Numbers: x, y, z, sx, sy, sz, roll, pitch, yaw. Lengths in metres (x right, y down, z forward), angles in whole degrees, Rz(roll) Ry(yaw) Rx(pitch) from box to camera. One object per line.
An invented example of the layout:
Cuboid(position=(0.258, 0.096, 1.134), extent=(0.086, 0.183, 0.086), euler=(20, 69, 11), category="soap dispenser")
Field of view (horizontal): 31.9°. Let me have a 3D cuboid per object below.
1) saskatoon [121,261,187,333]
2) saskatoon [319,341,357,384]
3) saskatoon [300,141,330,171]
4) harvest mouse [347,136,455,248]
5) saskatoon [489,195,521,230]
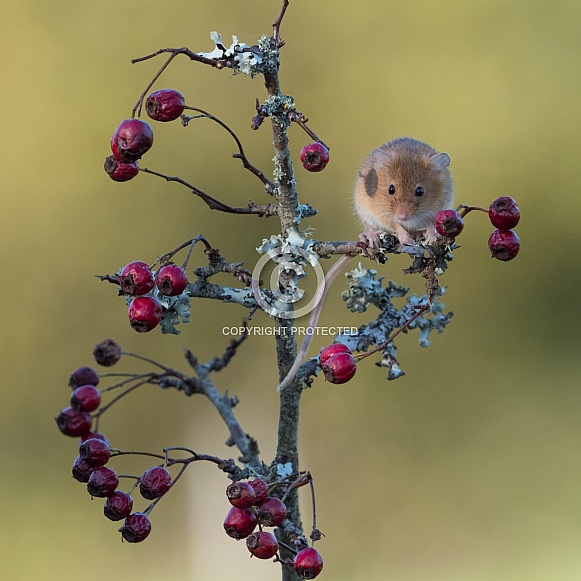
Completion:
Cuboid(position=(-0.415, 0.012, 3.008), extent=(0.180, 0.350, 0.141), euler=(29, -104, -2), category="saskatoon")
Cuboid(position=(0.137, 0.206, 2.954), extent=(0.073, 0.137, 0.092), euler=(27, -86, 6), category="saskatoon")
Cuboid(position=(0.069, -0.396, 3.010), extent=(0.080, 0.138, 0.090), euler=(6, -79, -2), category="saskatoon")
Cuboid(position=(0.451, -0.390, 4.076), extent=(0.345, 0.503, 0.433), euler=(-7, -80, -14), category="harvest mouse")
Cuboid(position=(0.599, -0.214, 2.836), extent=(0.088, 0.129, 0.107), euler=(-3, -79, 0), category="saskatoon")
